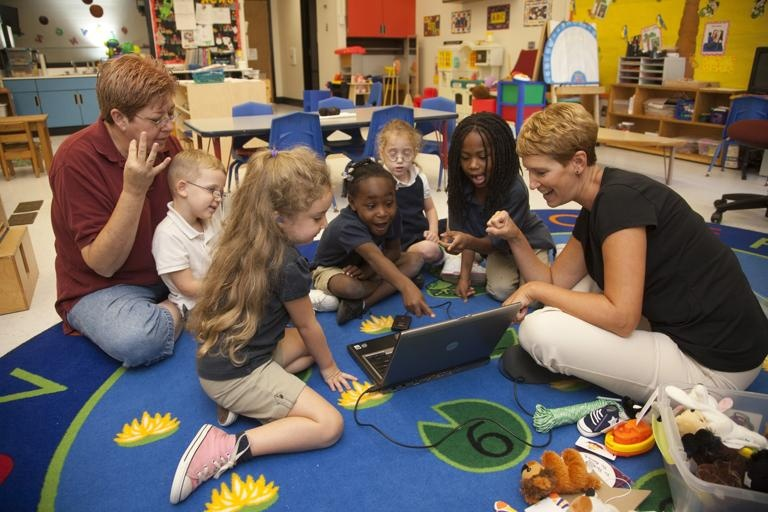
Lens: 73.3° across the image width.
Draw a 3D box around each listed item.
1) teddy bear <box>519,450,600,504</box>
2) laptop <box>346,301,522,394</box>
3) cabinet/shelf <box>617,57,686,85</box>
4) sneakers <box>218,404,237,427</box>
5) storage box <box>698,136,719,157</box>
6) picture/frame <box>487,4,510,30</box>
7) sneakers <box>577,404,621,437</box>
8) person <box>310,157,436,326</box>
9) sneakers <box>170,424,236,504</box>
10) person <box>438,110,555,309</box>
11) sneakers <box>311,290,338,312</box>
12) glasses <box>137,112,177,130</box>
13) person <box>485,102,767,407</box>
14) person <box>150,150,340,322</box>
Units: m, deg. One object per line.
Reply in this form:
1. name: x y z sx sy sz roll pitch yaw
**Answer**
1. teddy bear: 0.599 0.743 1.765 0.211 0.090 0.156 -7 25 -15
2. laptop: 0.199 0.287 2.099 0.489 0.318 0.434 -13 28 -16
3. cabinet/shelf: 3.073 -2.135 5.964 0.305 0.317 0.752 -12 25 -29
4. sneakers: -0.616 0.624 2.014 0.042 0.045 0.115 1 1 -30
5. storage box: 3.534 -1.172 5.613 0.238 0.149 0.243 8 18 40
6. picture/frame: 1.666 -3.440 7.455 0.051 0.395 0.452 -2 5 -36
7. sneakers: 0.820 0.624 1.950 0.206 0.077 0.074 -11 22 -25
8. person: -0.026 -0.074 2.620 0.561 0.818 0.819 -11 31 -22
9. sneakers: -0.626 0.725 1.846 0.112 0.162 0.271 10 45 17
10. person: 0.608 -0.241 2.726 0.597 0.952 0.765 4 15 23
11. sneakers: -0.310 0.226 2.658 0.119 0.044 0.101 10 7 23
12. glasses: -1.003 -0.612 2.332 0.069 0.057 0.181 4 21 9
13. person: 1.050 -0.104 2.414 1.184 1.295 1.015 -2 17 45
14. person: -0.708 -0.052 2.502 0.811 0.828 0.644 6 19 -3
